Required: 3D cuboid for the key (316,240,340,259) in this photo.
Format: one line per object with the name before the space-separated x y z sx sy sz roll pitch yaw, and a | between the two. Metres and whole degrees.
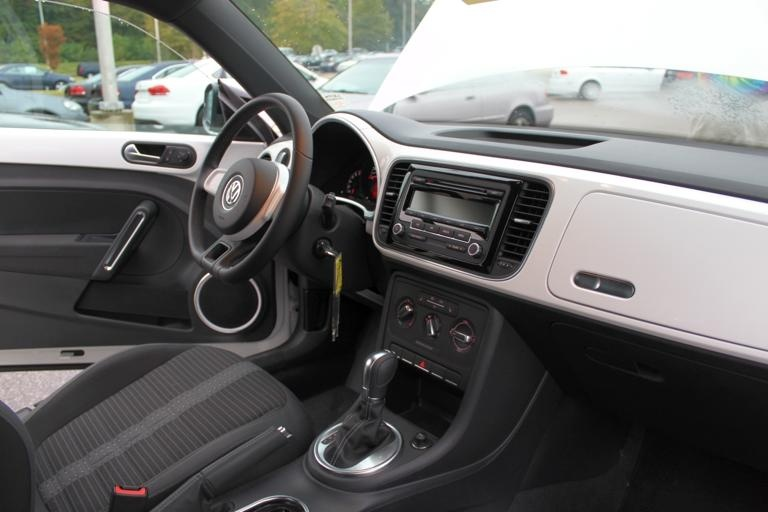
key | -0.176 -0.027 1.577 0.078 0.043 0.046 21 27 29
